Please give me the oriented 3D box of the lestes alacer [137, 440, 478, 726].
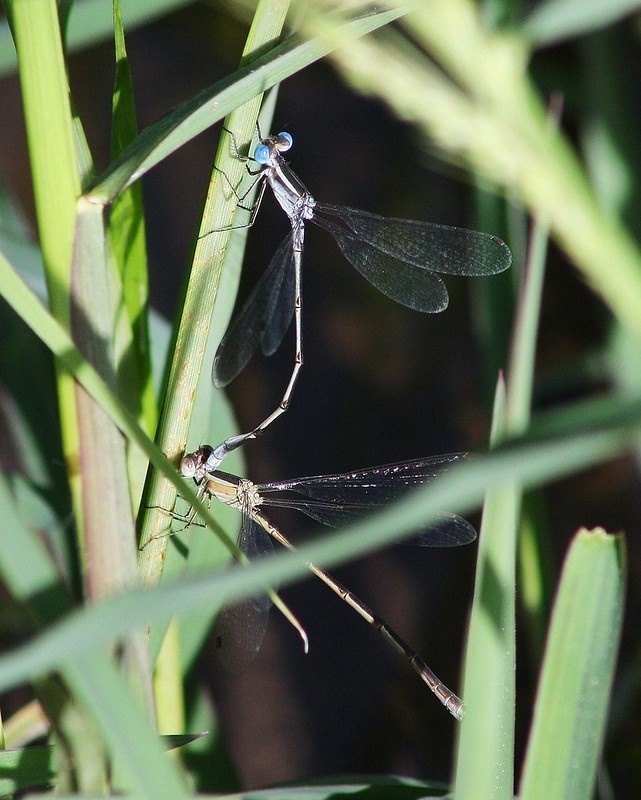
[{"bbox_3d":[-0.011,0.175,1.192,0.316,0.332,0.190,35,-63,14],"label":"lestes alacer"}]
